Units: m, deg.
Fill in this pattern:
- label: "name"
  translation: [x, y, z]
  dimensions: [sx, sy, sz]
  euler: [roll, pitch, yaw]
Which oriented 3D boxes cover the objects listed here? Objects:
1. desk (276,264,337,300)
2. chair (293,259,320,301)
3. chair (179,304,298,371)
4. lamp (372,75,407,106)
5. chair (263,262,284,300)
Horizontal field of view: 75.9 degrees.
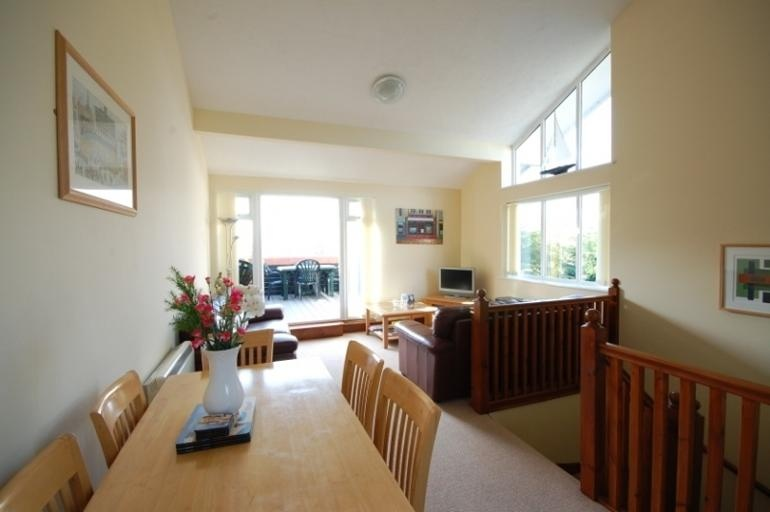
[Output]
- label: "desk"
  translation: [-1.454, 0.368, 9.206]
  dimensions: [1.041, 0.792, 0.642]
  euler: [-4, 12, -21]
- label: "chair"
  translation: [-1.435, 0.390, 9.186]
  dimensions: [0.534, 0.778, 0.505]
  euler: [-9, 18, -38]
- label: "chair"
  translation: [-1.528, 0.821, 5.896]
  dimensions: [0.935, 0.720, 0.991]
  euler: [14, 11, 21]
- label: "lamp"
  translation: [0.033, -1.913, 5.658]
  dimensions: [0.390, 0.242, 0.308]
  euler: [-1, 1, -2]
- label: "chair"
  translation: [-2.044, 0.466, 9.268]
  dimensions: [0.526, 0.784, 0.575]
  euler: [0, 3, -5]
